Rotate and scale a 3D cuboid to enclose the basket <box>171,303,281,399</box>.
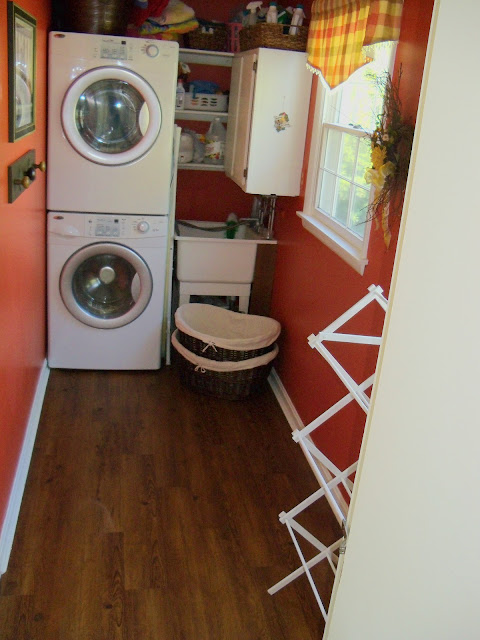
[{"bbox_3d":[-0.099,0.168,3.269,0.675,0.494,0.612,24,29,24],"label":"basket"}]

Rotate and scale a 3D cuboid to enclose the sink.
[{"bbox_3d":[-0.160,-0.564,3.596,0.581,0.285,0.479,2,13,-9],"label":"sink"}]

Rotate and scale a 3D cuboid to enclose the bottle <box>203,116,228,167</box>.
[{"bbox_3d":[-0.172,-1.361,3.698,0.209,0.310,0.085,6,1,37],"label":"bottle"}]

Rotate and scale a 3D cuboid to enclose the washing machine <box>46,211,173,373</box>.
[{"bbox_3d":[-0.962,-0.348,3.494,0.804,1.184,0.815,3,29,-10],"label":"washing machine"}]

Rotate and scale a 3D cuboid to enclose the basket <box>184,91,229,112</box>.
[{"bbox_3d":[-0.241,-1.583,3.498,0.226,0.168,0.085,-5,-13,-16],"label":"basket"}]

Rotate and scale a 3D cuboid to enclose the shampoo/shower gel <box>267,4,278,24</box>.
[{"bbox_3d":[0.201,-1.863,2.942,0.069,0.115,0.177,7,23,-2],"label":"shampoo/shower gel"}]

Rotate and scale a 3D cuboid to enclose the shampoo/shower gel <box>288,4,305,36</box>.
[{"bbox_3d":[0.343,-1.822,2.948,0.076,0.159,0.179,8,23,1],"label":"shampoo/shower gel"}]

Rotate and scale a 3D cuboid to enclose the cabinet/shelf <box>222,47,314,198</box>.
[{"bbox_3d":[0.149,-1.378,3.311,0.434,0.885,0.667,-5,28,-21],"label":"cabinet/shelf"}]

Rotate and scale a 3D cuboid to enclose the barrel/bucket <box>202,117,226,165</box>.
[{"bbox_3d":[-0.187,-1.352,3.689,0.211,0.313,0.085,5,1,36],"label":"barrel/bucket"}]

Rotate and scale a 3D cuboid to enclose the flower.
[{"bbox_3d":[0.554,-0.640,1.816,0.150,0.542,0.344,10,23,7],"label":"flower"}]

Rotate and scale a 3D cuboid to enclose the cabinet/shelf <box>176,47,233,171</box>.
[{"bbox_3d":[-0.259,-1.572,3.566,0.414,0.646,0.670,2,46,-8],"label":"cabinet/shelf"}]

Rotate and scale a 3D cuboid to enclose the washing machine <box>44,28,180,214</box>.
[{"bbox_3d":[-0.889,-1.348,3.232,0.839,1.103,0.845,5,30,-3],"label":"washing machine"}]
